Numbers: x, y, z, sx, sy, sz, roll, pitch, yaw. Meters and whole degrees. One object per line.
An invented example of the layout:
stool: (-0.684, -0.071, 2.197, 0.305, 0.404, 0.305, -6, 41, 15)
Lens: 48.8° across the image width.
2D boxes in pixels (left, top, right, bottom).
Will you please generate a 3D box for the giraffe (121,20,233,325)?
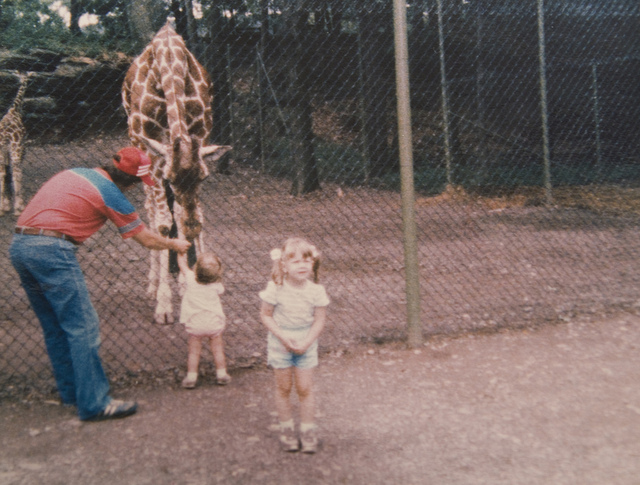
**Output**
giraffe: (-1.604, -1.145, 7.914, 1.084, 2.649, 1.809, -4, 20, -13)

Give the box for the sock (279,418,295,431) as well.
sock: (-0.278, 1.497, 5.838, 0.144, 0.072, 0.117, -1, -2, -5)

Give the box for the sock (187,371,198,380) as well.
sock: (-1.168, 1.217, 6.442, 0.098, 0.048, 0.079, 1, -11, -4)
